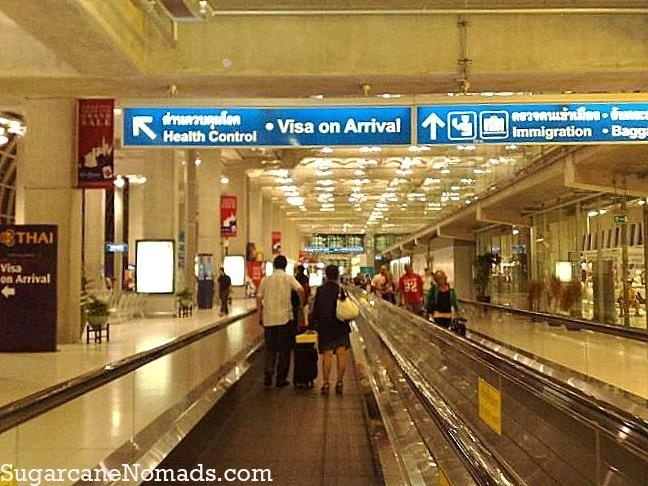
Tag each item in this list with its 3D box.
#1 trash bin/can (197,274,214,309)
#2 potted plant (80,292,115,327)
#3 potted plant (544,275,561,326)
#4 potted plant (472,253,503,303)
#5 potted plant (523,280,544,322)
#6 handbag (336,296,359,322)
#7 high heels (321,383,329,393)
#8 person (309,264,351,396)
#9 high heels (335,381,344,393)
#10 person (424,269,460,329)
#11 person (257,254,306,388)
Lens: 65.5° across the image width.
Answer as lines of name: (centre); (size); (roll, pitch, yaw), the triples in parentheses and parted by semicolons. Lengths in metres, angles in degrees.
trash bin/can: (-5.292, 2.176, 22.537); (0.730, 1.425, 0.626); (-1, -2, -31)
potted plant: (-5.703, 1.647, 12.507); (0.639, 0.812, 0.770); (-1, -2, -30)
potted plant: (6.730, 1.451, 14.637); (0.353, 1.104, 0.579); (-3, -2, 14)
potted plant: (7.549, 1.508, 23.261); (1.058, 1.677, 2.138); (-3, -2, 17)
potted plant: (6.535, 1.550, 15.375); (0.359, 0.845, 0.832); (-2, -2, 2)
handbag: (0.331, 0.890, 6.901); (0.302, 0.320, 0.294); (-3, -2, 17)
high heels: (0.024, 1.932, 6.798); (0.131, 0.134, 0.343); (-1, -5, -1)
person: (0.078, 1.157, 7.000); (0.554, 1.744, 0.545); (-3, -2, 8)
high heels: (0.212, 1.931, 6.787); (0.103, 0.156, 0.197); (-2, -2, -1)
person: (2.278, 1.055, 9.670); (0.613, 0.771, 0.426); (-2, -2, 3)
person: (-0.616, 1.085, 7.083); (0.606, 1.829, 0.426); (-2, -2, -9)
